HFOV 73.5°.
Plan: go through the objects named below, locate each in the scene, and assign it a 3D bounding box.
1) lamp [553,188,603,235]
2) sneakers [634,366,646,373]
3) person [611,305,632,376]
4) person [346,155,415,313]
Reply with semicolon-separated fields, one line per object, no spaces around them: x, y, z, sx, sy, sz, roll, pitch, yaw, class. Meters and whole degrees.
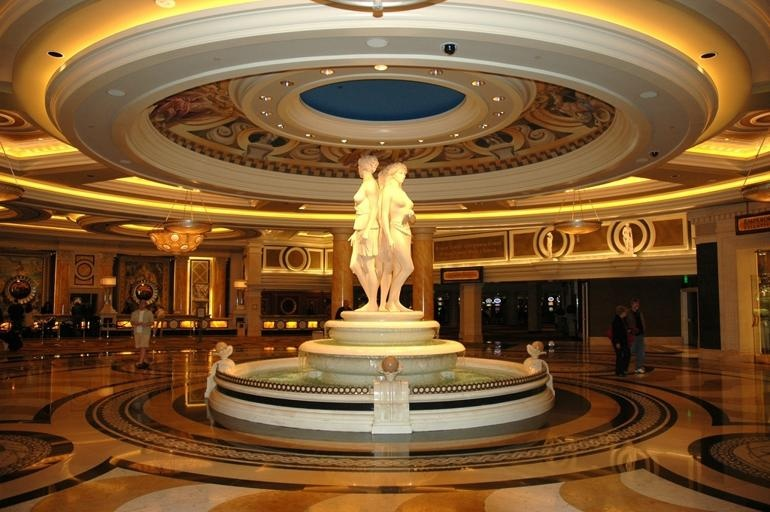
5.448;-1.283;14.592;1.609;1.069;1.369;-8;12;-24;lamp
6.101;2.714;12.259;0.207;0.134;0.398;-4;-17;20;sneakers
5.647;2.006;12.320;0.414;1.594;1.172;-3;-8;23;person
-0.039;-0.454;10.143;1.215;3.054;0.724;0;-8;0;person
